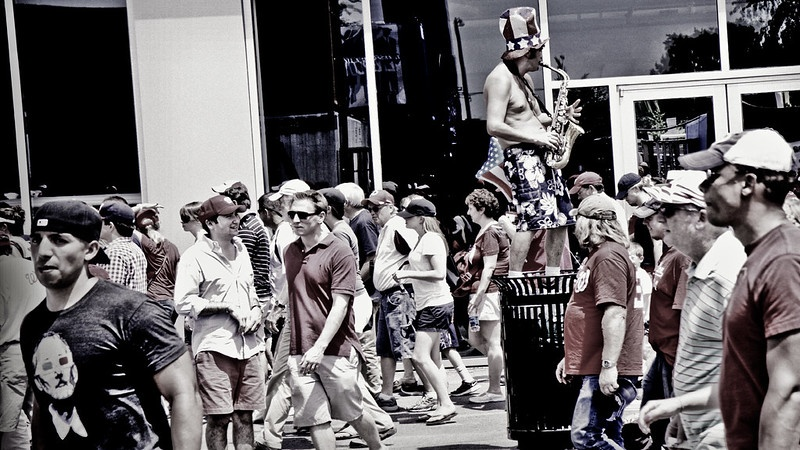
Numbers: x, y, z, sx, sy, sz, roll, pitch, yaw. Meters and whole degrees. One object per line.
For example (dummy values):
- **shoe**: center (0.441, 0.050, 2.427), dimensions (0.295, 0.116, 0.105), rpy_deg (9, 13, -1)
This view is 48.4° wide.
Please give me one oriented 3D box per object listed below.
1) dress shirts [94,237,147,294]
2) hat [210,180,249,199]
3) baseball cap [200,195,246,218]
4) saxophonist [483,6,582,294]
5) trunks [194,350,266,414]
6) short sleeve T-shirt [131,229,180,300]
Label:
- **dress shirts**: center (-3.300, 0.497, 10.481), dimensions (0.399, 0.612, 0.777), rpy_deg (-10, 2, 14)
- **hat**: center (-2.651, -0.557, 13.831), dimensions (0.508, 0.243, 0.324), rpy_deg (7, 0, -1)
- **baseball cap**: center (-2.245, -0.188, 11.071), dimensions (0.414, 0.202, 0.289), rpy_deg (-10, 5, 7)
- **saxophonist**: center (1.554, -1.033, 10.785), dimensions (0.773, 3.239, 1.004), rpy_deg (-1, 5, 45)
- **trunks**: center (-2.082, 1.910, 11.023), dimensions (0.853, 0.784, 0.480), rpy_deg (3, -5, -31)
- **short sleeve T-shirt**: center (-3.426, 0.579, 12.377), dimensions (0.504, 0.842, 0.910), rpy_deg (-9, 5, -6)
